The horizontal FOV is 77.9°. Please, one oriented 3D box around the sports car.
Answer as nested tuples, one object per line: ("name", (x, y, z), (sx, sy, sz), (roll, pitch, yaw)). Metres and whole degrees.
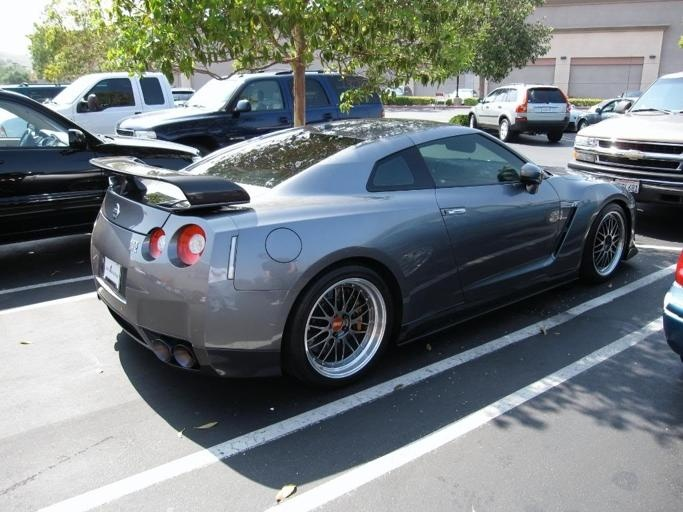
("sports car", (0.681, -0.414, 4.343), (5.631, 1.846, 1.998), (-13, 22, -30))
